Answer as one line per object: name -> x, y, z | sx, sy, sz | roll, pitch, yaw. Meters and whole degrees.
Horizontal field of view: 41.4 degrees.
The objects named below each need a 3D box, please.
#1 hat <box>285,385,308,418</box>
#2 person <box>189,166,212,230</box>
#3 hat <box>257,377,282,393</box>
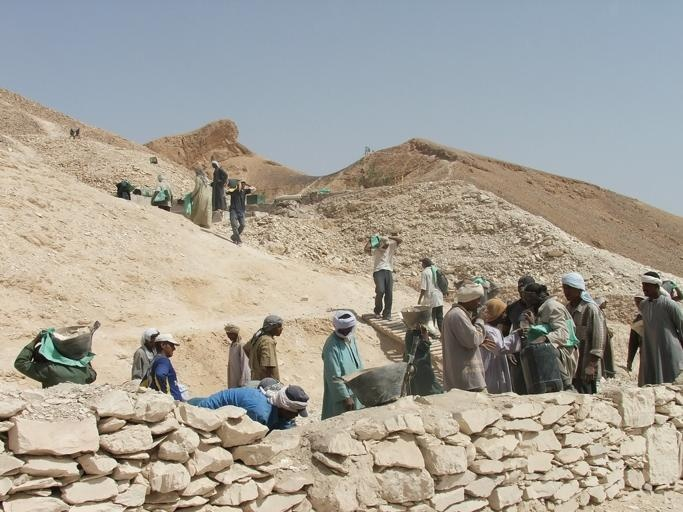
hat -> -0.502, 1.650, 10.276 | 0.273, 0.392, 0.269 | 7, 8, -2
person -> -3.283, -1.418, 21.544 | 0.539, 1.477, 1.421 | 7, 8, -8
hat -> -0.827, 1.489, 10.545 | 0.275, 0.110, 0.494 | 5, 7, -5
